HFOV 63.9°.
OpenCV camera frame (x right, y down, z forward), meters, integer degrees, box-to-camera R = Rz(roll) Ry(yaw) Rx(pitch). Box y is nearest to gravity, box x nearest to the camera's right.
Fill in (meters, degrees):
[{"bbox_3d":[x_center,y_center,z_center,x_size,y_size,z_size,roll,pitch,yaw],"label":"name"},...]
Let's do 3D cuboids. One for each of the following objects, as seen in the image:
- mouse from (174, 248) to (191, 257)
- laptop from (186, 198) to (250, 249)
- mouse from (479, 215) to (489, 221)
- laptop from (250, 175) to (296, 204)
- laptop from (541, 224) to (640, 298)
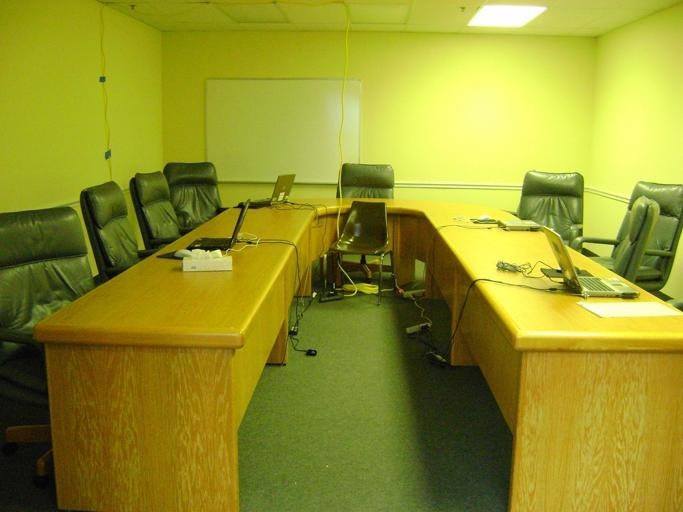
[{"bbox_3d":[-0.923,-0.014,3.160,0.059,0.047,0.063,3,3,-1],"label":"mouse"},{"bbox_3d":[-0.785,-0.214,3.506,0.338,0.268,0.351,3,7,-2],"label":"laptop"},{"bbox_3d":[1.172,-0.313,4.493,0.071,0.020,0.066,0,13,-6],"label":"mouse"},{"bbox_3d":[-0.656,-0.610,5.193,0.328,0.271,0.420,1,8,16],"label":"laptop"},{"bbox_3d":[1.227,-0.020,2.732,0.369,0.284,0.383,-2,7,-2],"label":"laptop"}]
